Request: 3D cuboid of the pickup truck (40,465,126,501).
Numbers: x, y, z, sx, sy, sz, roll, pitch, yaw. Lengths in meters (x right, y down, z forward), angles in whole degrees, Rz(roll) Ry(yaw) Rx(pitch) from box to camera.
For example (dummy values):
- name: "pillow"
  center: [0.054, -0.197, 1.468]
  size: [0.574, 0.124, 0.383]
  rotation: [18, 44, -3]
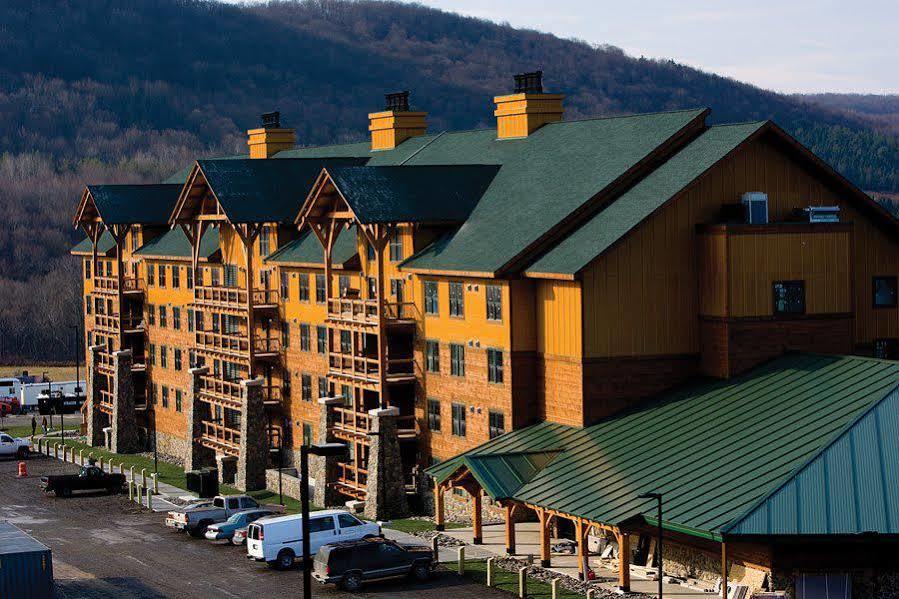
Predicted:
- name: "pickup truck"
  center: [-27.733, 13.785, 119.765]
  size: [5.921, 1.841, 1.586]
  rotation: [-6, 3, -8]

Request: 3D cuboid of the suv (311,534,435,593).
- name: "suv"
  center: [-4.797, 16.495, 97.175]
  size: [6.581, 2.659, 3.237]
  rotation: [-5, 5, -25]

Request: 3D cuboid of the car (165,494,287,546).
- name: "car"
  center: [-15.750, 15.024, 107.977]
  size: [6.050, 2.173, 2.947]
  rotation: [-6, 5, -32]
